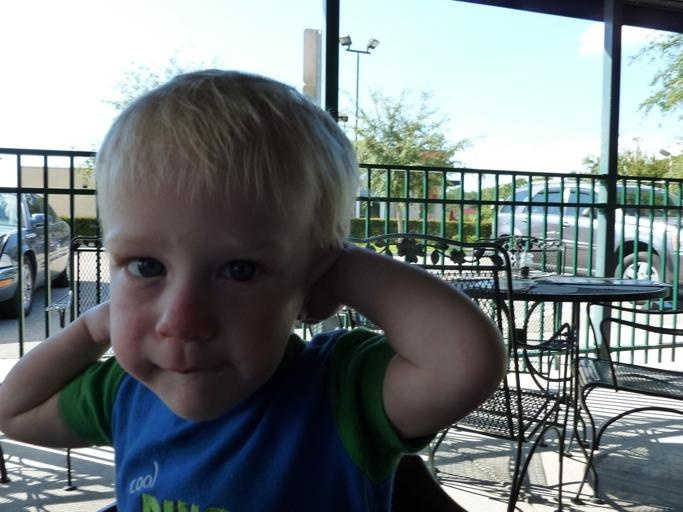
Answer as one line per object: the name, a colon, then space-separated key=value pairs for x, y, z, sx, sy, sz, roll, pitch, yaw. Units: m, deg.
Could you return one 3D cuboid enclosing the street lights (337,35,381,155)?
street lights: x=0.370 y=-3.531 z=13.922 sx=0.897 sy=3.119 sz=0.459 roll=4 pitch=-23 yaw=-5
